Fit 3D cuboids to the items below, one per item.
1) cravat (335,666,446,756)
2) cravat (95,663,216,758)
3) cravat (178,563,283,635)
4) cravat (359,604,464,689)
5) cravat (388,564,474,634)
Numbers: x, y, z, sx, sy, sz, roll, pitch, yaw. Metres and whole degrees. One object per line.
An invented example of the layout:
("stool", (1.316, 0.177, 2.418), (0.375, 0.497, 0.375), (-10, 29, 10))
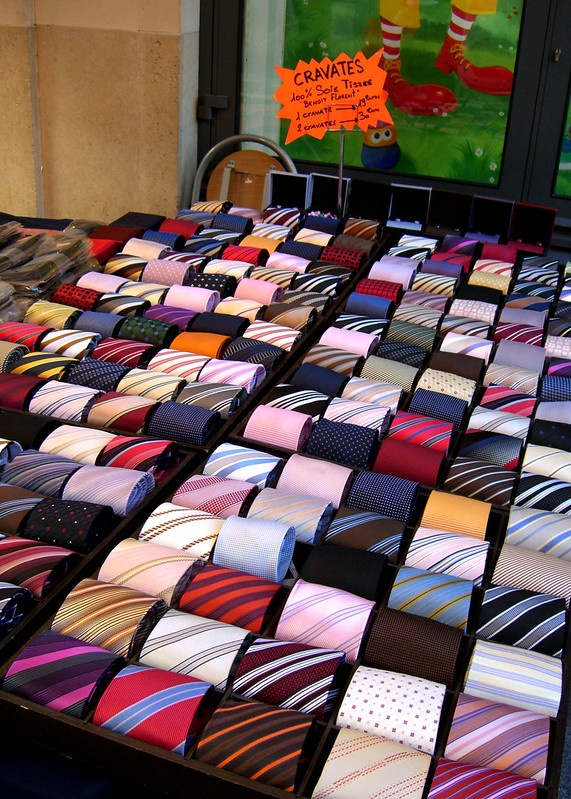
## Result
("cravat", (0.120, 0.340, 0.687), (0.071, 0.018, 0.067), (10, 40, 25))
("cravat", (-0.137, 0.316, 0.649), (0.110, 0.025, 0.077), (8, 22, 18))
("cravat", (-0.068, 0.256, 0.809), (0.094, 0.023, 0.078), (13, 32, 17))
("cravat", (0.145, 0.266, 0.698), (0.094, 0.024, 0.076), (13, 54, 18))
("cravat", (0.193, 0.252, 0.807), (0.077, 0.020, 0.069), (11, 35, 22))
